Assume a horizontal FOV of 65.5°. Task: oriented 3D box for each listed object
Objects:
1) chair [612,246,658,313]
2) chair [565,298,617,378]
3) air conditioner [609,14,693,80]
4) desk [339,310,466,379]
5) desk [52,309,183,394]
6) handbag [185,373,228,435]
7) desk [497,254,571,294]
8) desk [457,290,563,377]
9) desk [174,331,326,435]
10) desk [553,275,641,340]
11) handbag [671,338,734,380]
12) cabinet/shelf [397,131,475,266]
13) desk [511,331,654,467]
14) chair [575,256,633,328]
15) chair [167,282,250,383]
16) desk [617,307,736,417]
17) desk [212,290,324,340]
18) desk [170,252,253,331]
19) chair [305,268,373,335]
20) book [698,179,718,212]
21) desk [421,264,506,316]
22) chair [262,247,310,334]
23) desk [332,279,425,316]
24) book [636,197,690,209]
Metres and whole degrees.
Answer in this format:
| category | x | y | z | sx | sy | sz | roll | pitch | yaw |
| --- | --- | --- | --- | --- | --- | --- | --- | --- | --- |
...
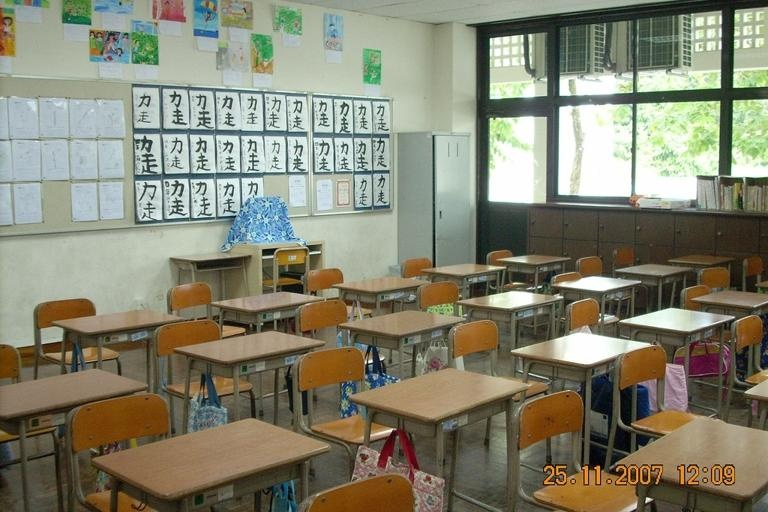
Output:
| category | x | y | z | sx | sy | sz | roll | pitch | yaw |
| --- | --- | --- | --- | --- | --- | --- | --- | --- | --- |
| chair | 3.065 | 0.182 | 7.415 | 0.370 | 0.492 | 0.370 | -6 | -7 | 33 |
| chair | 1.621 | 0.688 | 4.469 | 0.380 | 0.672 | 0.384 | -8 | 8 | -35 |
| air conditioner | 3.761 | -2.980 | 8.162 | 1.050 | 0.949 | 0.421 | 12 | 31 | 42 |
| desk | 0.137 | 0.814 | 4.629 | 0.588 | 0.661 | 0.781 | 3 | 6 | 36 |
| desk | -2.027 | 0.834 | 4.618 | 0.566 | 0.652 | 0.747 | 3 | 5 | 36 |
| handbag | -1.092 | 0.889 | 3.698 | 0.263 | 0.357 | 0.150 | 7 | 5 | 25 |
| desk | 1.813 | 0.344 | 7.302 | 0.532 | 0.635 | 0.732 | 6 | 8 | 45 |
| desk | 1.113 | 0.690 | 5.294 | 0.546 | 0.593 | 0.848 | 4 | 6 | 43 |
| desk | -0.940 | 0.894 | 4.004 | 0.537 | 0.495 | 0.697 | 3 | 1 | 29 |
| desk | 2.073 | 0.346 | 5.920 | 0.621 | 0.729 | 0.827 | 5 | 9 | 45 |
| handbag | 2.853 | 0.872 | 5.324 | 0.266 | 0.419 | 0.503 | 1 | -13 | -28 |
| cabinet/shelf | 0.727 | -0.851 | 8.997 | 1.156 | 1.996 | 0.606 | -3 | 7 | 3 |
| desk | 1.214 | 1.051 | 3.970 | 0.610 | 0.666 | 0.758 | 3 | -14 | 31 |
| chair | 2.213 | 0.361 | 6.016 | 0.498 | 0.802 | 0.788 | 2 | 5 | 42 |
| chair | -1.525 | 0.661 | 5.217 | 0.630 | 0.790 | 0.630 | -4 | 7 | -30 |
| desk | 2.264 | 0.838 | 4.565 | 0.761 | 0.725 | 0.597 | -1 | -14 | 22 |
| desk | -1.010 | 0.584 | 5.240 | 0.490 | 0.385 | 0.833 | 6 | 6 | 33 |
| desk | -1.963 | 0.432 | 7.194 | 0.693 | 0.841 | 0.957 | 3 | 5 | 36 |
| chair | -0.480 | 0.453 | 5.877 | 0.418 | 0.659 | 0.483 | -7 | -2 | -34 |
| book | 4.068 | -0.789 | 7.532 | 0.226 | 0.401 | 0.095 | 0 | 8 | 26 |
| desk | 0.891 | 0.426 | 6.538 | 0.752 | 0.554 | 0.526 | -8 | 10 | -44 |
| chair | -1.215 | 0.319 | 7.283 | 0.585 | 0.745 | 0.592 | -7 | 7 | -30 |
| desk | -0.018 | 0.454 | 5.829 | 0.500 | 0.374 | 0.839 | 6 | 8 | 34 |
| book | 3.627 | -0.673 | 7.750 | 0.610 | 0.141 | 0.263 | -1 | 7 | 19 |
